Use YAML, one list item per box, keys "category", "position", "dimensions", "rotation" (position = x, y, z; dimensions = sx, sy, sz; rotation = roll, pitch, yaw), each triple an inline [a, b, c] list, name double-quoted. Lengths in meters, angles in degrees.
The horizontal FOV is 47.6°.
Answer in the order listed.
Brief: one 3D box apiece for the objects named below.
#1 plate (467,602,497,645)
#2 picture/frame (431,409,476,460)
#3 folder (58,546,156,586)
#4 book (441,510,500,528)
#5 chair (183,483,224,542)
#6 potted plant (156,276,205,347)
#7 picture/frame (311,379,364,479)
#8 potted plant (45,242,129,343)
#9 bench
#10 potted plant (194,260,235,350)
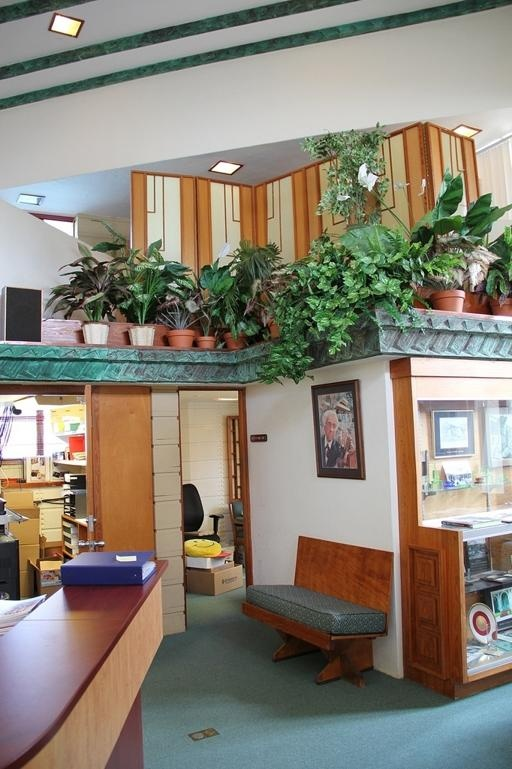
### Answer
- category: "plate"
  position: [1.478, 1.571, 3.791]
  dimensions: [0.210, 0.239, 0.080]
  rotation: [-18, -9, 17]
- category: "picture/frame"
  position: [1.405, 0.372, 4.172]
  dimensions: [0.371, 0.351, 0.028]
  rotation: [1, -4, -28]
- category: "folder"
  position: [-0.632, 0.808, 2.538]
  dimensions: [0.352, 0.105, 0.400]
  rotation: [-2, -7, -3]
- category: "book"
  position: [1.509, 0.951, 4.008]
  dimensions: [0.557, 0.048, 0.303]
  rotation: [1, -8, -30]
- category: "chair"
  position: [-0.741, 1.696, 7.763]
  dimensions: [0.438, 0.724, 0.824]
  rotation: [-2, -7, -8]
- category: "potted plant"
  position: [-0.767, -0.691, 5.542]
  dimensions: [0.410, 0.719, 0.459]
  rotation: [-7, -2, 13]
- category: "picture/frame"
  position: [0.656, 0.353, 4.539]
  dimensions: [0.038, 0.924, 0.758]
  rotation: [-2, -4, -24]
- category: "potted plant"
  position: [-1.467, -0.829, 5.285]
  dimensions: [0.787, 0.939, 0.565]
  rotation: [-2, 1, -8]
- category: "bench"
  position: [0.430, 1.637, 4.283]
  dimensions: [0.568, 0.877, 1.213]
  rotation: [7, -11, -26]
- category: "potted plant"
  position: [-0.429, -0.750, 5.657]
  dimensions: [0.377, 0.918, 0.468]
  rotation: [11, -6, -29]
